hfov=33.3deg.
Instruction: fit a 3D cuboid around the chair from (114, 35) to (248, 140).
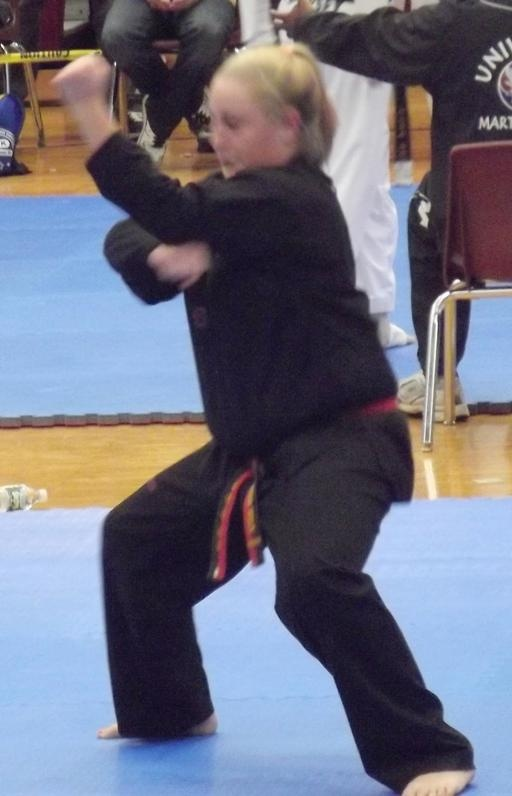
[{"bbox_3d":[-0.503,-1.956,5.136,0.601,0.551,0.645,-7,42,-18],"label":"chair"}]
